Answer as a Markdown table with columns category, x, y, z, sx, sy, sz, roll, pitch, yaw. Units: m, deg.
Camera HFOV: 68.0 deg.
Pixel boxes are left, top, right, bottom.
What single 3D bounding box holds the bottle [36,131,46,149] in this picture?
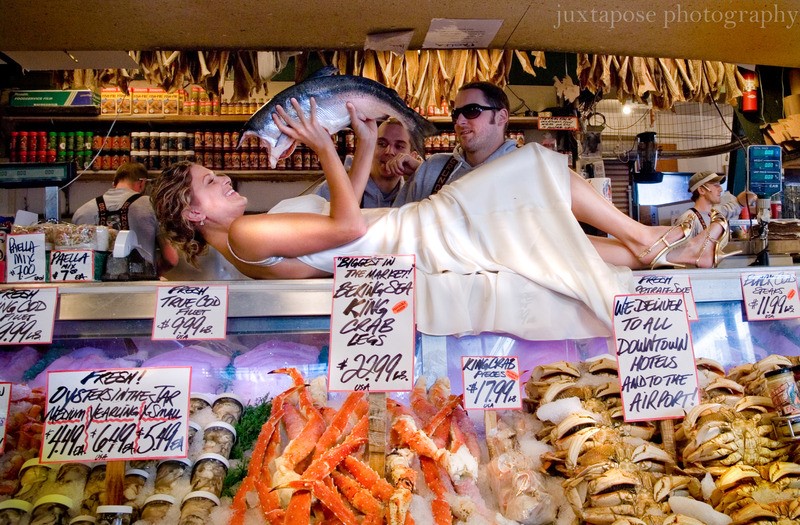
| category | x | y | z | sx | sy | sz | roll | pitch | yaw |
| --- | --- | --- | --- | --- | --- | --- | --- | --- | --- |
| bottle | -3.712 | -1.251 | 6.125 | 0.127 | 0.182 | 0.048 | -6 | 8 | 7 |

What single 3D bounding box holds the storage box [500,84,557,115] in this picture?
| category | x | y | z | sx | sy | sz | roll | pitch | yaw |
| --- | --- | --- | --- | --- | --- | --- | --- | --- | --- |
| storage box | 1.607 | -2.042 | 7.601 | 0.822 | 0.418 | 0.532 | -2 | 8 | -8 |

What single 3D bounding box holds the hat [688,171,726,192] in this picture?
| category | x | y | z | sx | sy | sz | roll | pitch | yaw |
| --- | --- | --- | --- | --- | --- | --- | --- | --- | --- |
| hat | 2.975 | -0.797 | 5.689 | 0.294 | 0.148 | 0.214 | -14 | 9 | 20 |

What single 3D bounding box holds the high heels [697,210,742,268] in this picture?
| category | x | y | z | sx | sy | sz | roll | pitch | yaw |
| --- | --- | --- | --- | --- | --- | --- | --- | --- | --- |
| high heels | 1.795 | -0.119 | 3.302 | 0.177 | 0.434 | 0.150 | 16 | -12 | -29 |

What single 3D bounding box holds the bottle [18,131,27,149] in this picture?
| category | x | y | z | sx | sy | sz | roll | pitch | yaw |
| --- | --- | --- | --- | --- | --- | --- | --- | --- | --- |
| bottle | -3.901 | -1.258 | 6.132 | 0.087 | 0.171 | 0.043 | -9 | 8 | -14 |

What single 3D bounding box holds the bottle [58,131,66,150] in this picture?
| category | x | y | z | sx | sy | sz | roll | pitch | yaw |
| --- | --- | --- | --- | --- | --- | --- | --- | --- | --- |
| bottle | -3.503 | -1.251 | 6.139 | 0.086 | 0.174 | 0.058 | -7 | 8 | -1 |
